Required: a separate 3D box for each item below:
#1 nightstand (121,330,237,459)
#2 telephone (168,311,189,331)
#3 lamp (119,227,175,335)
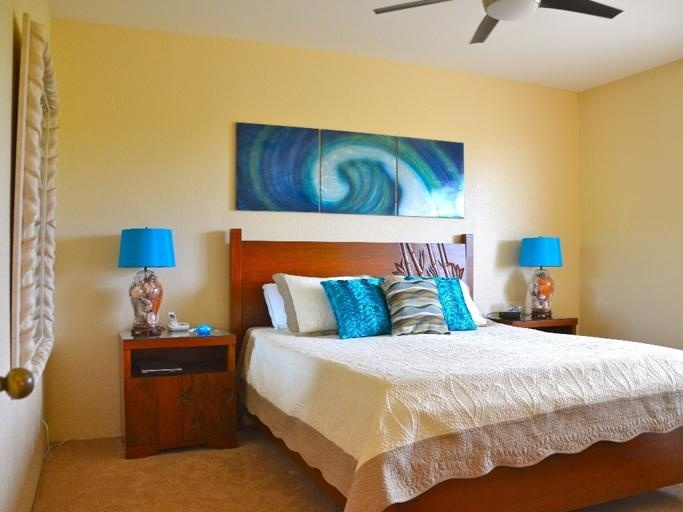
[{"bbox_3d":[-1.108,0.973,3.614,0.806,0.880,0.492,1,-4,-24],"label":"nightstand"},{"bbox_3d":[-1.191,0.482,3.871,0.120,0.075,0.166,2,-3,-24],"label":"telephone"},{"bbox_3d":[-1.387,0.172,3.784,0.365,0.739,0.420,-1,3,-19],"label":"lamp"}]
